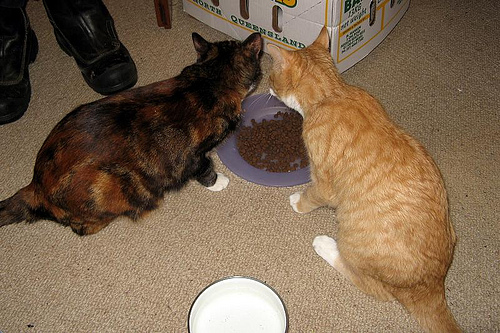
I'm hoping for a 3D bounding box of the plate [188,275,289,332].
[{"bbox_3d":[-0.064,0.691,2.195,0.463,0.156,0.297,-8,69,-3],"label":"plate"}]
